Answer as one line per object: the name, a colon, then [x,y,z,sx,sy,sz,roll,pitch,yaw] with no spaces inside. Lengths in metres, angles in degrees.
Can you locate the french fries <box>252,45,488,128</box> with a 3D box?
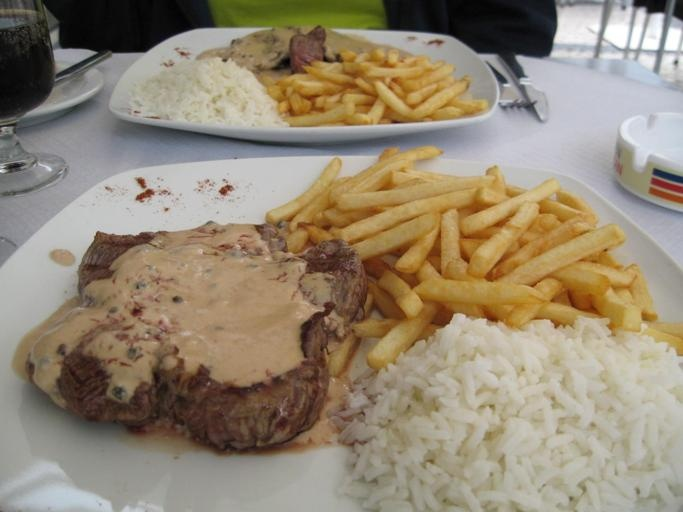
french fries: [0.154,-1.032,3.854,0.944,0.258,0.868,-3,26,-6]

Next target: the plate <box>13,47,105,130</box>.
plate: [-1.764,-1.133,4.027,0.703,0.133,0.764,2,45,15]

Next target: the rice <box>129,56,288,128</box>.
rice: [-0.860,-1.032,3.875,1.240,0.346,0.774,7,17,27]
